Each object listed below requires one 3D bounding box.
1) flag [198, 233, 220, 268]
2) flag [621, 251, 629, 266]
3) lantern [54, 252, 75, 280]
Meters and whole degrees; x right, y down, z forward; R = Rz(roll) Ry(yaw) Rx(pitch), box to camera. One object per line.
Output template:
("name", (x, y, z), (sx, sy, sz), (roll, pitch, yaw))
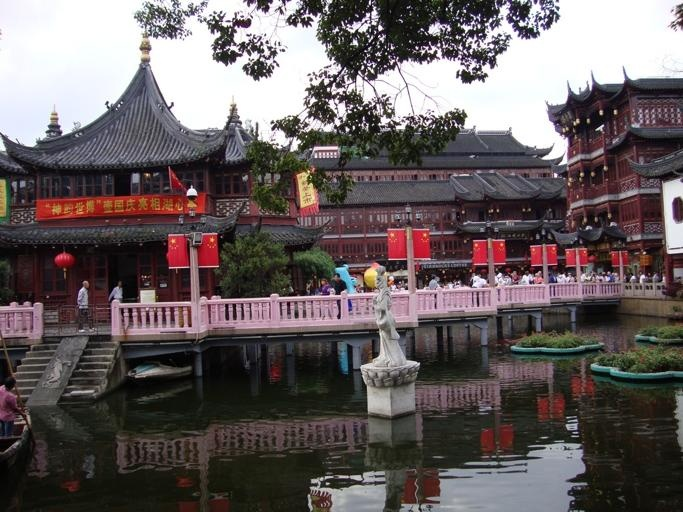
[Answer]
("flag", (-4.806, -0.206, 29.923), (0.769, 1.213, 0.464), (-6, 11, -16))
("flag", (16.187, 0.152, 48.045), (0.662, 0.846, 0.879), (-1, 4, 18))
("lantern", (-11.362, 0.302, 34.077), (0.813, 1.170, 0.805), (-3, -1, 19))
